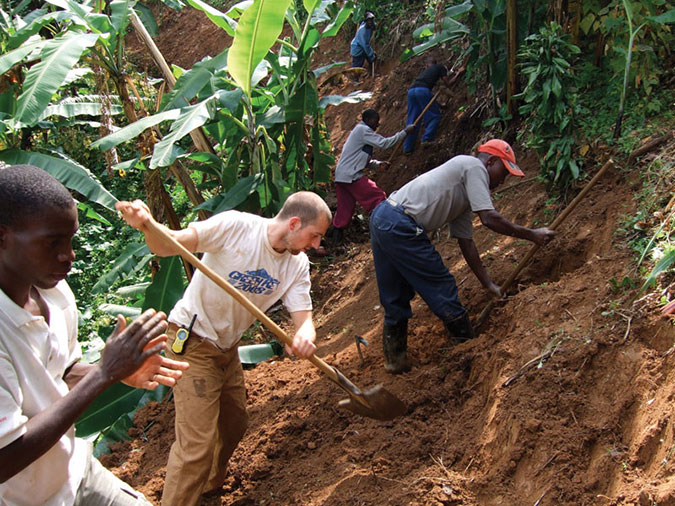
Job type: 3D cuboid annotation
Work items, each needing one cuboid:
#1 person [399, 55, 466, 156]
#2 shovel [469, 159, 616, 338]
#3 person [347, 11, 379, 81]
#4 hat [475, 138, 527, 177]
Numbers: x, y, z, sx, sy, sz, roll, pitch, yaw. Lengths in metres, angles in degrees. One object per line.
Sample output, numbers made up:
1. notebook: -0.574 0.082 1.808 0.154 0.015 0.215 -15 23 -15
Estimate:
1. person: 1.463 -2.320 10.530 0.704 1.820 0.591 13 -18 -12
2. shovel: 1.987 -0.021 6.320 0.172 2.268 0.297 24 26 -28
3. person: 0.491 -3.855 12.762 0.508 1.568 0.539 -25 54 -14
4. hat: 1.583 -0.923 6.331 0.488 0.277 0.316 24 5 14
